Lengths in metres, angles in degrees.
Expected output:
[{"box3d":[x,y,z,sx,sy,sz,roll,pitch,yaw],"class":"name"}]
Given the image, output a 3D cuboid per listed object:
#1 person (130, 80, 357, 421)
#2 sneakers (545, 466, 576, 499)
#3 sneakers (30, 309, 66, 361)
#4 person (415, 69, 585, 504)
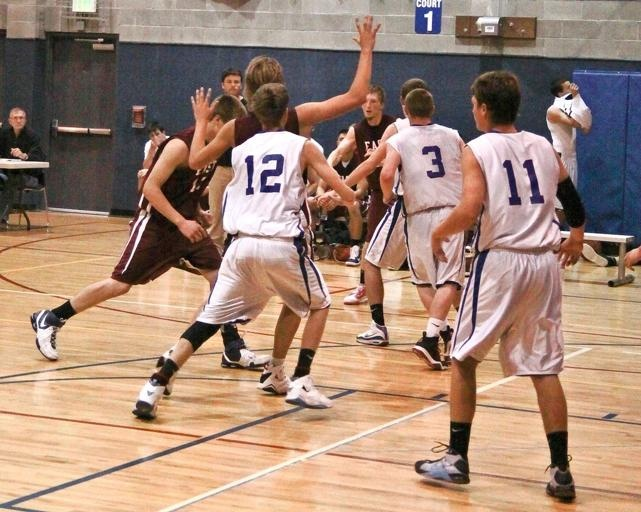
[{"box3d":[-0.366,-0.040,4.148,0.944,1.760,0.326,2,6,2],"class":"person"},{"box3d":[1.020,0.962,3.266,0.065,0.102,0.196,-1,-2,8],"class":"sneakers"},{"box3d":[-1.863,0.525,5.238,0.181,0.437,0.145,-25,-19,14],"class":"sneakers"},{"box3d":[0.839,0.220,3.478,0.675,1.549,0.583,4,6,18],"class":"person"}]
